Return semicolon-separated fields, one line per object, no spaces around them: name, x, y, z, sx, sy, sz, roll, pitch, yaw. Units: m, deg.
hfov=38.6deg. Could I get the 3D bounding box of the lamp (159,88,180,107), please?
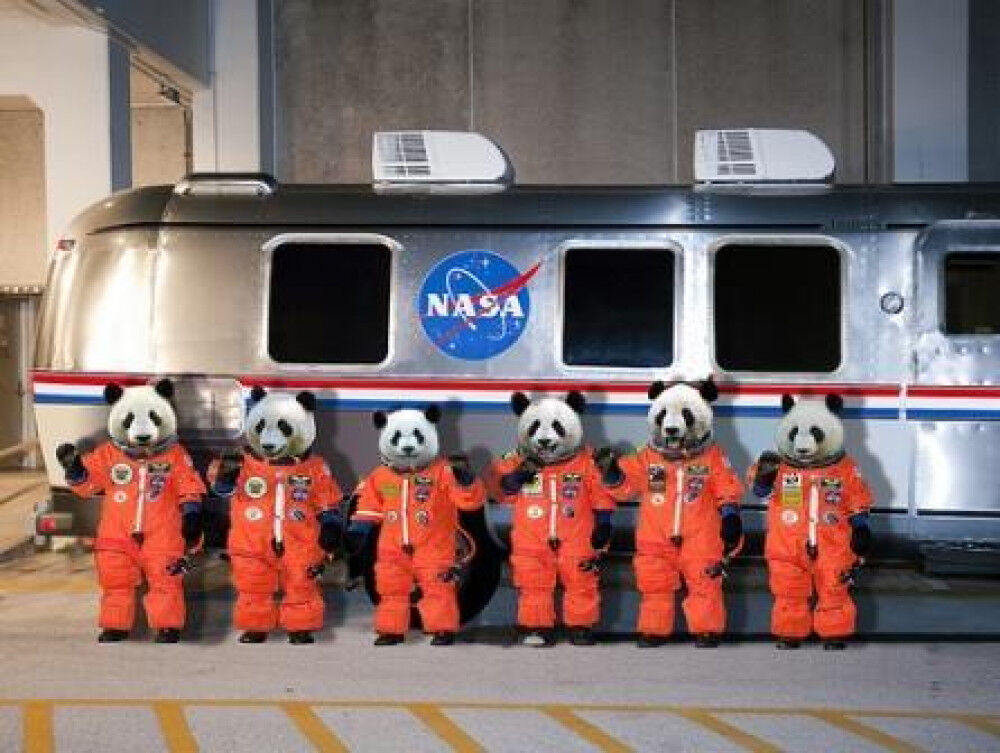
lamp;-4.258;-3.607;18.406;0.255;0.166;0.281;22;-4;-20
